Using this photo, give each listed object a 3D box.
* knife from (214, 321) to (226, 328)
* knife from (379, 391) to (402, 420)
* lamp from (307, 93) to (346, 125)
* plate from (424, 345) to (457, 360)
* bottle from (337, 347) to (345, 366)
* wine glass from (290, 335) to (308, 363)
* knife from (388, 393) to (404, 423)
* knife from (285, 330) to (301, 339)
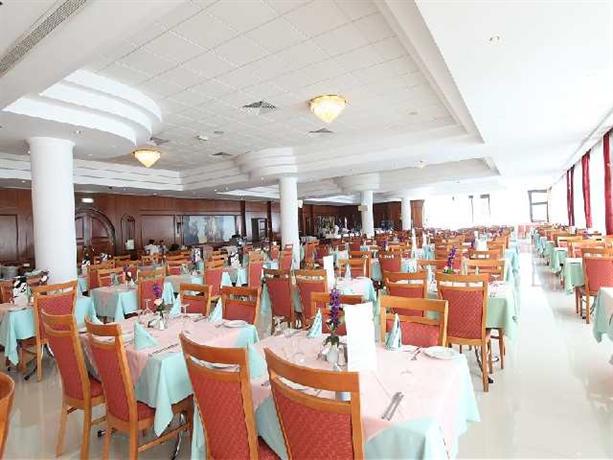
[{"bbox_3d":[-0.926,1.016,4.373,0.044,0.059,0.157,10,-14,12],"label":"knife"},{"bbox_3d":[0.610,1.254,2.891,0.068,0.046,0.303,4,16,24],"label":"knife"},{"bbox_3d":[0.407,-2.361,7.972,0.742,0.488,0.781,-12,2,14],"label":"lamp"},{"bbox_3d":[1.156,1.048,3.477,0.300,0.050,0.178,1,10,21],"label":"plate"},{"bbox_3d":[0.286,1.040,3.364,0.081,0.142,0.118,-1,9,4],"label":"bottle"},{"bbox_3d":[-0.064,1.050,3.519,0.122,0.153,0.129,-7,6,-7],"label":"wine glass"},{"bbox_3d":[0.636,1.250,2.907,0.058,0.035,0.258,-4,22,29],"label":"knife"},{"bbox_3d":[-0.123,1.013,4.029,0.045,0.037,0.326,15,6,30],"label":"knife"}]
